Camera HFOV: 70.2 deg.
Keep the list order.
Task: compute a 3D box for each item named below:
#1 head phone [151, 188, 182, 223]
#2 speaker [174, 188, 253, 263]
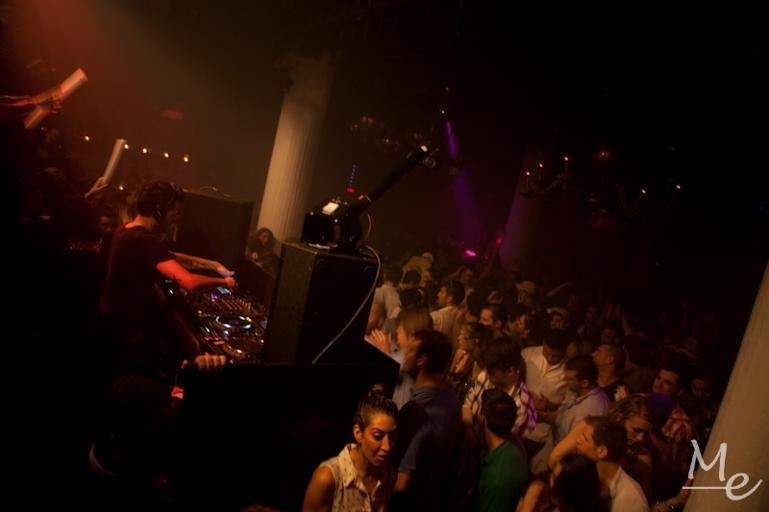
[{"bbox_3d":[-1.928,-0.460,4.970,0.204,0.274,0.267,16,3,31],"label":"head phone"},{"bbox_3d":[-1.979,-0.280,5.931,1.078,1.127,0.378,2,5,18],"label":"speaker"}]
